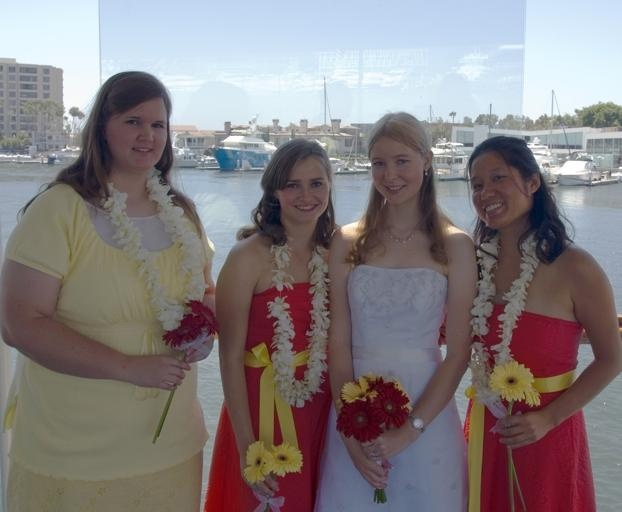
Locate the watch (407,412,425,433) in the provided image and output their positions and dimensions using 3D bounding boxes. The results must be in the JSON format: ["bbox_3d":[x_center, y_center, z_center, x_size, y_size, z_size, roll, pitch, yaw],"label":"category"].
[{"bbox_3d":[0.409,0.652,2.657,0.044,0.068,0.070,-27,59,-25],"label":"watch"}]
